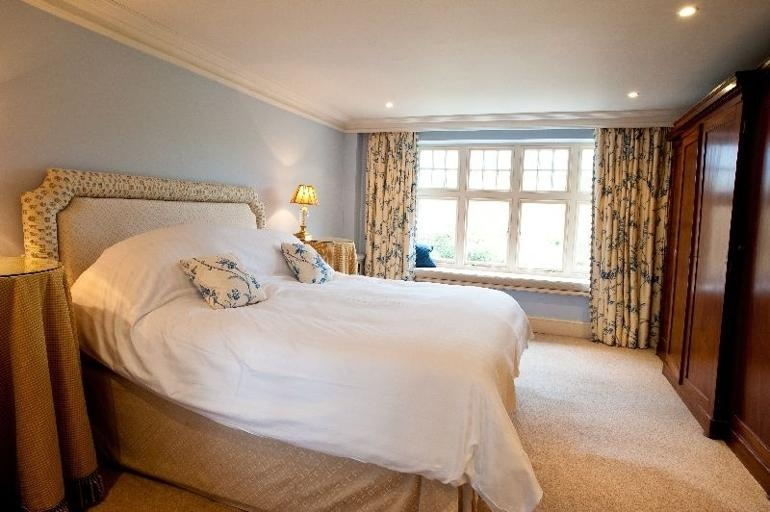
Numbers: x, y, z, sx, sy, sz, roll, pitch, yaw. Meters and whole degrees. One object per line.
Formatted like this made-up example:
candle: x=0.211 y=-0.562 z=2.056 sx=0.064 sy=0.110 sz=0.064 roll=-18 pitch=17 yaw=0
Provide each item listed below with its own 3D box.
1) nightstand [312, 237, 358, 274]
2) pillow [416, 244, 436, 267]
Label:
nightstand: x=-0.618 y=0.049 z=5.786 sx=0.501 sy=0.396 sz=0.501 roll=-2 pitch=-5 yaw=-13
pillow: x=0.531 y=0.001 z=6.622 sx=0.284 sy=0.274 sz=0.132 roll=4 pitch=-6 yaw=-19
